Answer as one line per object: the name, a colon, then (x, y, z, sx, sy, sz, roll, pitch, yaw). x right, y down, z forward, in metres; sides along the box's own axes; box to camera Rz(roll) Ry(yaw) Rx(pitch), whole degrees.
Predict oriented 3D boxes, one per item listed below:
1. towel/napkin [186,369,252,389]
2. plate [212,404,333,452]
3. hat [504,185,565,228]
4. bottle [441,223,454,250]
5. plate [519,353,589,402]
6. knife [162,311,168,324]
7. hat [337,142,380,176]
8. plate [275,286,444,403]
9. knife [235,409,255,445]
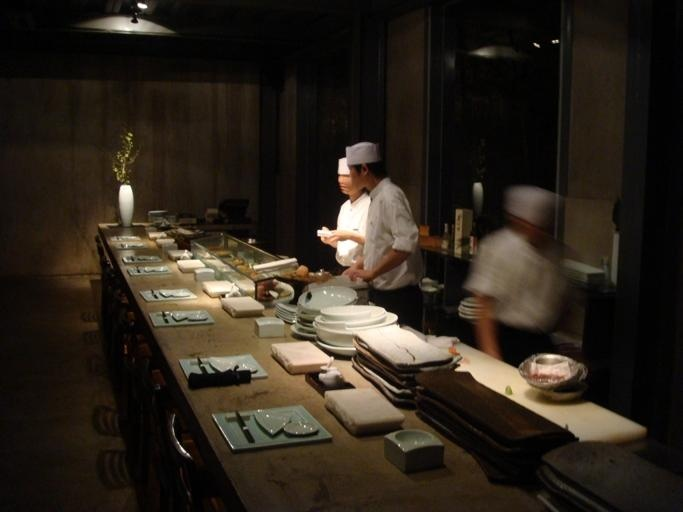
towel/napkin: (-0.477, 0.473, 2.121, 0.240, 0.079, 0.088, -3, 10, -21)
plate: (-0.243, 0.575, 1.848, 0.379, 0.045, 0.250, -1, 10, -16)
hat: (1.052, -0.274, 2.980, 0.304, 0.228, 0.157, -2, 10, -21)
bottle: (0.993, -0.189, 5.051, 0.109, 0.227, 0.225, 3, 10, 11)
plate: (0.790, 0.451, 2.043, 0.180, 0.088, 0.182, 7, 16, 41)
knife: (-0.940, 0.326, 2.893, 0.027, 0.017, 0.160, -7, 14, -13)
hat: (0.148, -0.798, 4.430, 0.294, 0.249, 0.221, 7, 16, 23)
plate: (0.205, 0.398, 2.314, 0.341, 0.241, 0.649, -4, 12, -32)
knife: (-0.323, 0.580, 1.816, 0.032, 0.020, 0.228, 5, 11, -18)
